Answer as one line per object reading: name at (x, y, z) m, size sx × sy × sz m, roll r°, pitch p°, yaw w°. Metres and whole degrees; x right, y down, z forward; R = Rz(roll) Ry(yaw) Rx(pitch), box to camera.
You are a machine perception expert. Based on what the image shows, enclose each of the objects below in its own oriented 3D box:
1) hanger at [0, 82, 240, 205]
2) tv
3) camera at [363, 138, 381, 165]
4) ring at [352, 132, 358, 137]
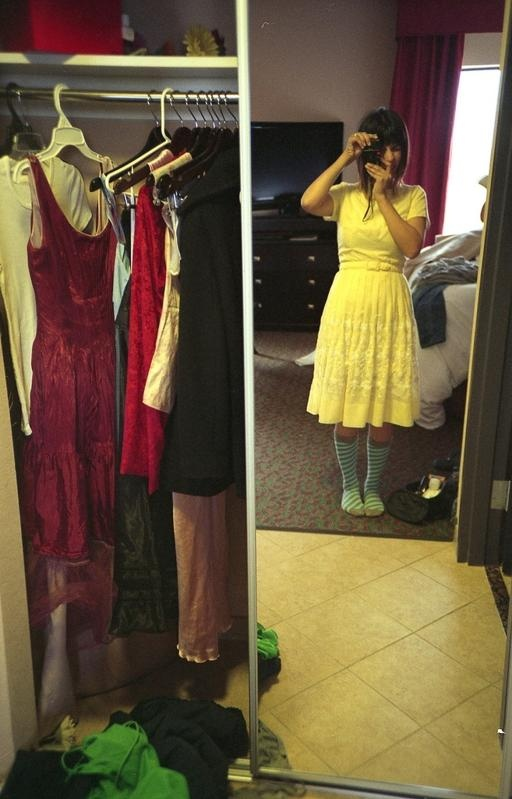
hanger at (-0.241, -0.486, 1.154) m, size 0.440 × 0.193 × 0.340 m, roll 2°, pitch 17°, yaw 5°
tv at (0.059, -0.357, 0.912) m, size 0.127 × 0.130 × 0.014 m, roll -3°, pitch 25°, yaw -5°
camera at (0.182, -0.384, 0.923) m, size 0.025 × 0.049 × 0.030 m, roll -2°, pitch 25°, yaw -3°
ring at (0.151, -0.402, 0.902) m, size 0.006 × 0.001 × 0.005 m, roll -1°, pitch -12°, yaw 0°
